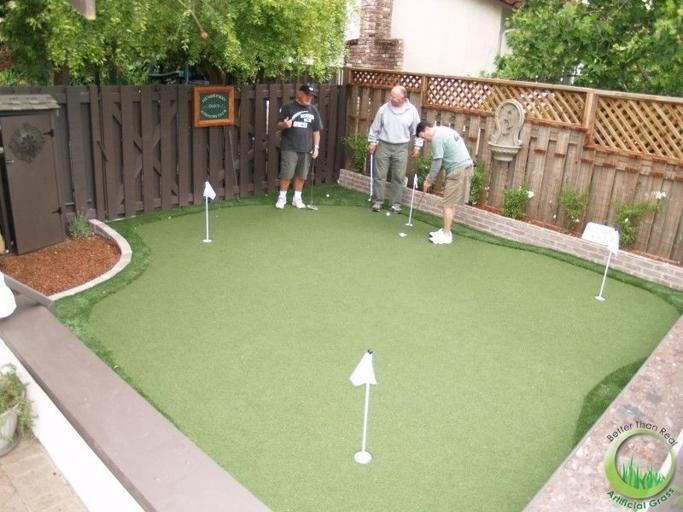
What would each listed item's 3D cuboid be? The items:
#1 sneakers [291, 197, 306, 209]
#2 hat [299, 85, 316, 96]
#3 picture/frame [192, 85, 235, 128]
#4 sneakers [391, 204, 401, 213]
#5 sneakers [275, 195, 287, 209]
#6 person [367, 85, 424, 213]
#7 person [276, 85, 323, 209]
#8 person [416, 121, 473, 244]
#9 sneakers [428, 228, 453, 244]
[{"bbox_3d":[-0.839,-1.036,9.578,0.123,0.240,0.342,-19,27,-40],"label":"sneakers"},{"bbox_3d":[-0.621,-2.970,8.910,0.235,0.154,0.184,26,41,27],"label":"hat"},{"bbox_3d":[-2.358,-2.750,8.995,0.079,0.670,0.695,17,22,42],"label":"picture/frame"},{"bbox_3d":[1.037,-0.921,9.555,0.146,0.160,0.159,-12,39,-15],"label":"sneakers"},{"bbox_3d":[-1.178,-1.079,9.530,0.118,0.164,0.365,2,29,-6],"label":"sneakers"},{"bbox_3d":[0.940,-2.007,9.368,0.899,2.313,0.478,4,20,2],"label":"person"},{"bbox_3d":[-0.838,-2.083,9.374,0.799,2.275,0.637,1,20,-8],"label":"person"},{"bbox_3d":[1.670,-1.195,8.228,0.884,1.876,0.629,9,21,13],"label":"person"},{"bbox_3d":[1.658,-0.310,8.334,0.254,0.118,0.302,1,22,-7],"label":"sneakers"}]
